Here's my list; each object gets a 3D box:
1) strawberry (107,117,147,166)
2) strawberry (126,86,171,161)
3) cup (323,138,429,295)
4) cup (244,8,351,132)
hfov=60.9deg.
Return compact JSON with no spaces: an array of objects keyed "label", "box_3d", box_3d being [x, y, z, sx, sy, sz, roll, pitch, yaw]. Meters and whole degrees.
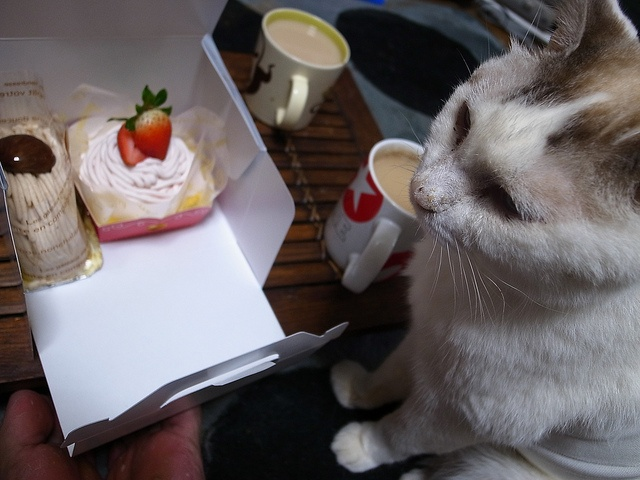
[{"label":"strawberry","box_3d":[-0.283,-0.145,0.791,0.013,0.038,0.058,-22,103,-49]},{"label":"strawberry","box_3d":[-0.246,-0.168,0.815,0.062,0.093,0.059,-12,15,-43]},{"label":"cup","box_3d":[0.078,-0.075,0.813,0.113,0.147,0.215,25,61,9]},{"label":"cup","box_3d":[-0.035,-0.275,0.926,0.123,0.145,0.221,16,48,-3]}]
